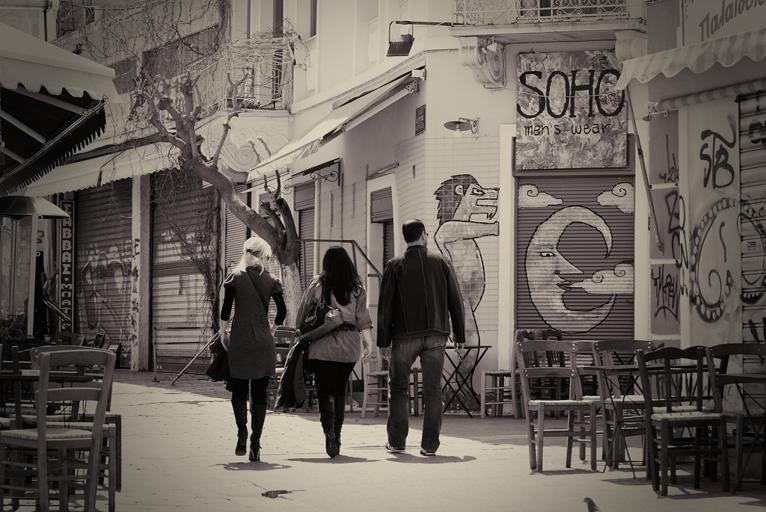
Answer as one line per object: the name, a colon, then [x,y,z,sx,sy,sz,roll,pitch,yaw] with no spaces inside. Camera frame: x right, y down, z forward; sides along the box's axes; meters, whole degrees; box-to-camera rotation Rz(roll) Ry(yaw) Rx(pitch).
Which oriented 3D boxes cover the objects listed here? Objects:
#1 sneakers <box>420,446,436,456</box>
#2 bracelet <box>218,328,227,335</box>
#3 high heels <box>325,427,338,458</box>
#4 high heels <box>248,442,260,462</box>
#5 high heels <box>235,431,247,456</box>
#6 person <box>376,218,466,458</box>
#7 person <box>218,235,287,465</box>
sneakers: [0.605,2.607,12.579,0.199,0.106,0.194,0,-11,2]
bracelet: [-2.079,0.989,12.349,0.096,0.050,0.129,1,-4,-17]
high heels: [-0.668,2.443,12.402,0.132,0.433,0.159,-7,3,-14]
high heels: [-1.640,2.524,12.178,0.135,0.236,0.199,2,-11,-9]
high heels: [-1.820,2.421,12.215,0.130,0.285,0.176,3,-11,-14]
person: [0.493,1.086,12.738,1.129,3.153,0.517,1,-10,-2]
person: [-1.697,1.176,12.318,0.813,2.934,0.368,3,-10,-13]
